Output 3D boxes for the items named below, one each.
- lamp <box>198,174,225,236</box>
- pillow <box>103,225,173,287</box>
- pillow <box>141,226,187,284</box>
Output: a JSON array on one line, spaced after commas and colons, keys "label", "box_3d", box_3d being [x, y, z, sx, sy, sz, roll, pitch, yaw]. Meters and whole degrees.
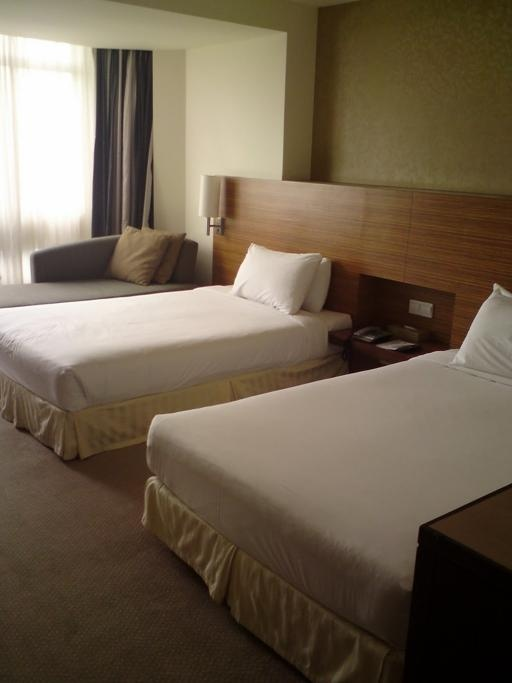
[{"label": "lamp", "box_3d": [-0.410, -1.230, 4.499, 0.225, 0.499, 0.389, -2, 11, -14]}, {"label": "pillow", "box_3d": [-1.086, -0.781, 4.565, 0.468, 0.570, 0.159, 15, -8, 30]}, {"label": "pillow", "box_3d": [-0.824, -0.757, 4.604, 0.340, 0.448, 0.159, 12, -8, 14]}]
